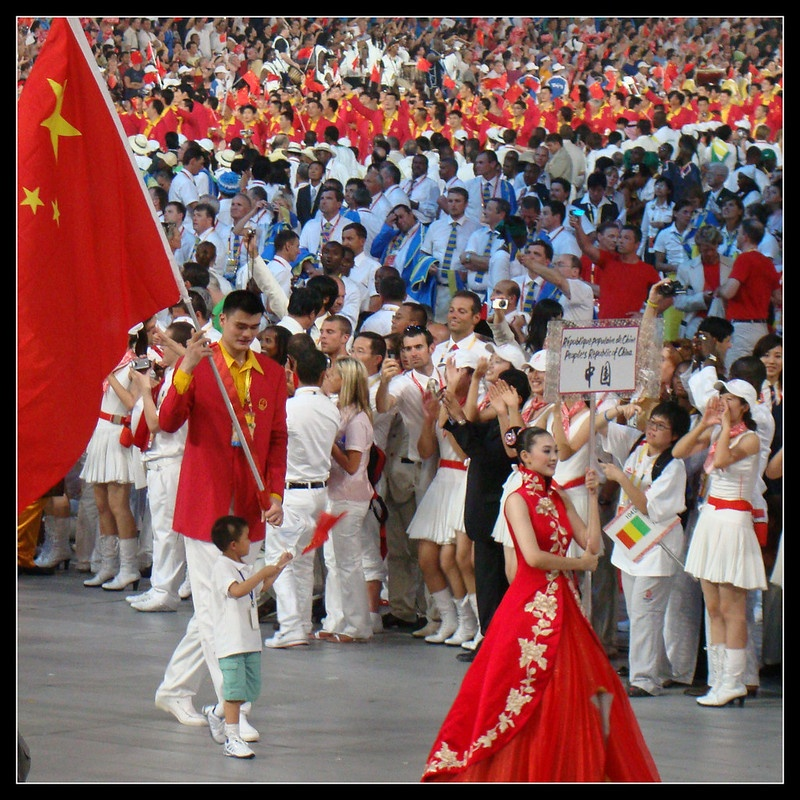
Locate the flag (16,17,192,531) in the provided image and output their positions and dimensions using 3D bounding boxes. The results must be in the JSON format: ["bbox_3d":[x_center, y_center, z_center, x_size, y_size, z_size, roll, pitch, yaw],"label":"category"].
[{"bbox_3d":[-1.372,-0.824,7.527,1.070,0.127,2.317,-11,-40,-15],"label":"flag"}]

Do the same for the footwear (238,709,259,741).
[{"bbox_3d":[-0.771,1.635,8.287,0.063,0.124,0.173,1,-1,-29],"label":"footwear"}]

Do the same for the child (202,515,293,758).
[{"bbox_3d":[-0.778,1.155,8.149,0.297,1.169,0.509,3,-5,-45],"label":"child"}]

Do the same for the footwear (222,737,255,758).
[{"bbox_3d":[-0.792,1.684,8.059,0.169,0.126,0.069,-1,2,26],"label":"footwear"}]

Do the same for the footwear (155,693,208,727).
[{"bbox_3d":[-1.155,1.608,8.577,0.212,0.095,0.073,24,14,4],"label":"footwear"}]

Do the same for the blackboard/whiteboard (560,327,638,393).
[{"bbox_3d":[0.900,-0.192,7.587,0.275,0.249,0.028,2,-5,-30],"label":"blackboard/whiteboard"}]

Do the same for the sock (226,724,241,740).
[{"bbox_3d":[-0.813,1.613,8.032,0.075,0.095,0.052,0,-3,-2],"label":"sock"}]

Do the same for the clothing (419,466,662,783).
[{"bbox_3d":[0.663,0.951,7.560,1.100,1.630,0.975,-12,14,-42],"label":"clothing"}]
